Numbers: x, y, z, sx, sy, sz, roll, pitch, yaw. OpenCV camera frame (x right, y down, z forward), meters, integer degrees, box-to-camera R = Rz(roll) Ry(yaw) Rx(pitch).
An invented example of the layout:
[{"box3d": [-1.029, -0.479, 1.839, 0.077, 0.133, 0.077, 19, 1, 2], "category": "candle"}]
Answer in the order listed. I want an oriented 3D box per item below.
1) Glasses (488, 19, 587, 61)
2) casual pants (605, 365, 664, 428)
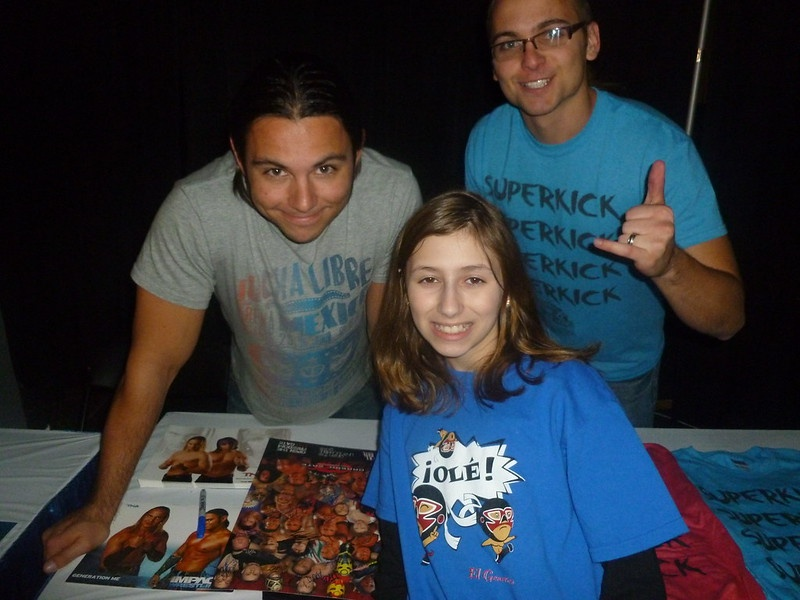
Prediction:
[{"box3d": [0.494, -0.918, 2.218, 0.316, 0.125, 0.107, 3, 19, 9], "category": "Glasses"}, {"box3d": [0.958, 0.439, 2.613, 0.155, 0.166, 0.158, 6, -7, -20], "category": "casual pants"}]
